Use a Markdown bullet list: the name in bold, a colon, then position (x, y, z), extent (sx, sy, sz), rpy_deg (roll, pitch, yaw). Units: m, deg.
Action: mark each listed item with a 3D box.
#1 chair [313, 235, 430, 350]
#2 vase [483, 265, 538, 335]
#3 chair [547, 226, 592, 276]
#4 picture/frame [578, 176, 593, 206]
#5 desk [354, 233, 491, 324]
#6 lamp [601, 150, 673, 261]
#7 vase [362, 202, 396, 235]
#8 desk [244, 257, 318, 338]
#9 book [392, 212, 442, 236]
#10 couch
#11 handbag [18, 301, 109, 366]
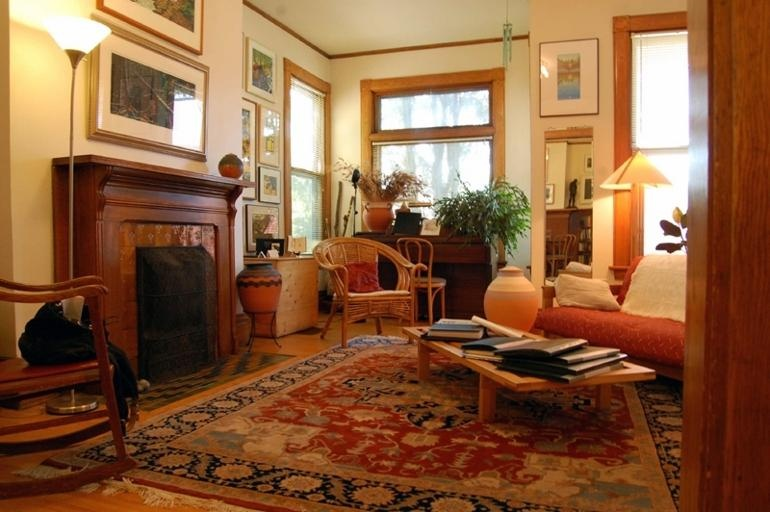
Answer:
- **chair**: position (-0.151, 0.275, 4.867), extent (1.034, 0.816, 0.753), rpy_deg (1, 3, -16)
- **vase**: position (0.847, 0.287, 3.636), extent (0.408, 0.417, 0.377), rpy_deg (0, 2, -7)
- **chair**: position (1.730, -0.063, 5.369), extent (0.555, 0.587, 0.442), rpy_deg (2, 5, 8)
- **picture/frame**: position (1.916, -0.620, 5.118), extent (0.123, 0.286, 0.040), rpy_deg (0, 6, 10)
- **desk**: position (0.418, 0.210, 5.393), extent (1.153, 0.678, 0.389), rpy_deg (0, -4, 14)
- **lamp**: position (2.223, -0.435, 4.790), extent (0.541, 0.990, 0.720), rpy_deg (1, 7, 21)
- **vase**: position (-0.061, -0.430, 6.198), extent (0.424, 0.289, 0.340), rpy_deg (0, -1, -9)
- **desk**: position (-0.968, 0.381, 4.928), extent (0.458, 0.720, 0.814), rpy_deg (0, -1, 27)
- **book**: position (0.328, -0.357, 5.983), extent (0.450, 0.278, 0.138), rpy_deg (4, 3, 0)
- **couch**: position (1.669, 0.407, 3.619), extent (0.917, 0.596, 1.237), rpy_deg (1, 0, -6)
- **handbag**: position (-1.503, 0.342, 2.465), extent (0.279, 0.146, 0.331), rpy_deg (11, 2, -42)
